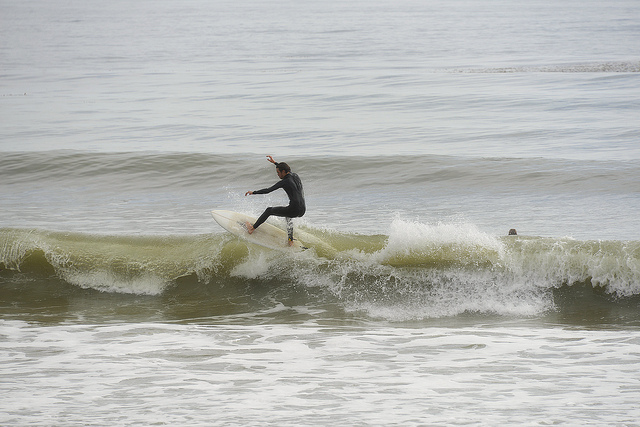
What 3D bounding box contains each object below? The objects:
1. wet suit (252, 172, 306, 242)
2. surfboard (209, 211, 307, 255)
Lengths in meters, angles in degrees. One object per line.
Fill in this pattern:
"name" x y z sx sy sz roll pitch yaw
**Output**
"wet suit" -1.198 -0.225 37.296 1.459 2.287 1.247 14 42 -3
"surfboard" -2.158 0.703 37.738 4.463 0.400 1.078 18 55 13
